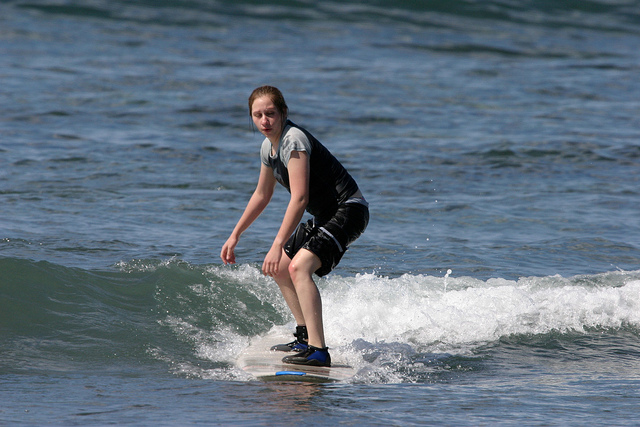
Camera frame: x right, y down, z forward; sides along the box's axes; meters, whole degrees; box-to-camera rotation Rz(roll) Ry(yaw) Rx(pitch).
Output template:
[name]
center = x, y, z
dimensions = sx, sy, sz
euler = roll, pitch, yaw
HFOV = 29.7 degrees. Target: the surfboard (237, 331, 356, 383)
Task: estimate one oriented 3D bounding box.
[surfboard]
center = -0.512, 3.287, 27.190
dimensions = 1.601, 0.180, 1.628
euler = -5, 18, -2
